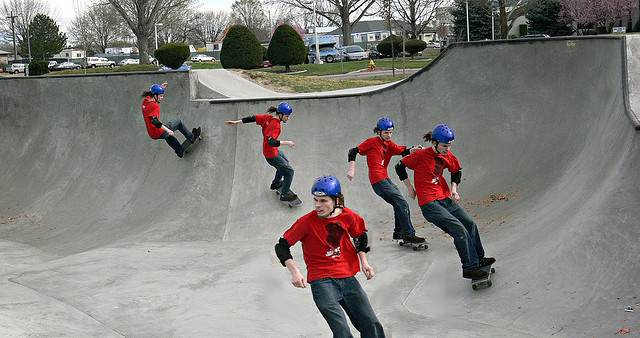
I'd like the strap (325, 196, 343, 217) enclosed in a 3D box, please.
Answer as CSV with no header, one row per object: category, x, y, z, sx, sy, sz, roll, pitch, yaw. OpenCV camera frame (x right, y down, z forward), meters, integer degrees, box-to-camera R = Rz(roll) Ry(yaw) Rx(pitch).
strap,0.378,0.890,14.516,0.245,0.080,0.318,24,72,46

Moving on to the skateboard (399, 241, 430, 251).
skateboard,2.750,2.201,17.747,0.632,0.167,0.311,3,5,17

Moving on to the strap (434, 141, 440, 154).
strap,3.107,-0.609,16.136,0.128,0.316,0.282,3,5,-7

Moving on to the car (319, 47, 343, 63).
car,0.956,-9.826,51.869,1.273,0.750,2.175,-8,12,-34

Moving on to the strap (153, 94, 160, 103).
strap,-5.559,-2.466,20.828,0.252,0.307,0.118,-1,6,1

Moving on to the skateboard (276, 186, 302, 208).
skateboard,-0.936,0.951,19.725,0.345,1.202,0.186,-47,-15,-14

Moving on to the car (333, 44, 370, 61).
car,2.766,-9.916,51.830,1.909,1.146,3.375,9,17,44

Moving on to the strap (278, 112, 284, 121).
strap,-1.185,-1.658,18.731,0.212,0.256,0.103,1,7,16
